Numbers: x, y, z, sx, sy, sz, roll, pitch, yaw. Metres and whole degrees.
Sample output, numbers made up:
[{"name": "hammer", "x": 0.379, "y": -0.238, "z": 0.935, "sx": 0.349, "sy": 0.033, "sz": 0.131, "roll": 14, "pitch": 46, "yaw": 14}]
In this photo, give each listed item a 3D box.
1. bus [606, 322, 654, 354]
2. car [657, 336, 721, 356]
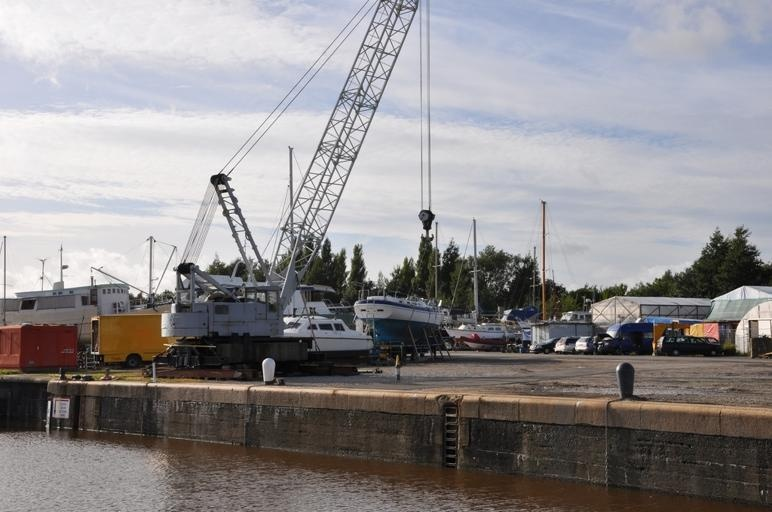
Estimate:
[{"name": "bus", "x": 15.086, "y": 5.107, "z": 69.135, "sx": 2.901, "sy": 1.304, "sz": 1.592, "roll": 2, "pitch": -5, "yaw": -3}, {"name": "car", "x": 17.276, "y": 5.134, "z": 63.731, "sx": 3.137, "sy": 0.928, "sz": 1.308, "roll": -2, "pitch": -1, "yaw": 5}]
